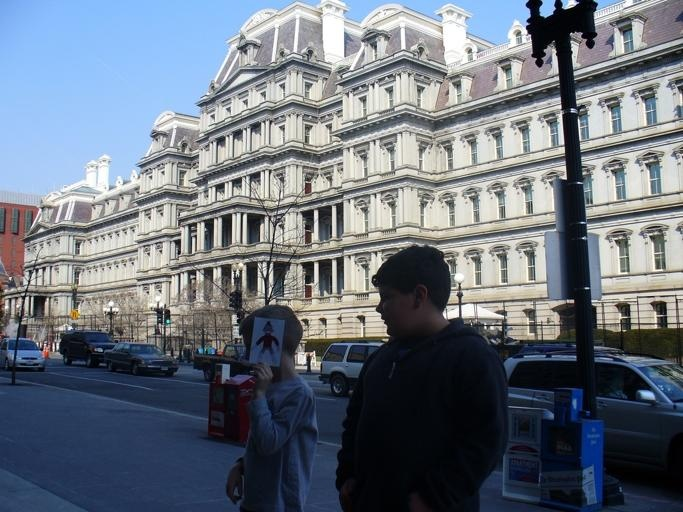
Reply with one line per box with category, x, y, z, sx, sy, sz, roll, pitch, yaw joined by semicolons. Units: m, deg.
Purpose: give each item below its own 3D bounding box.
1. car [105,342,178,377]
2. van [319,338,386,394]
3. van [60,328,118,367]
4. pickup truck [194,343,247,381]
car;-10.885;5.523;35.958;1.752;1.125;4.116;8;-10;-38
van;1.199;4.440;26.285;3.920;2.060;1.875;-6;-10;37
van;-15.363;5.778;41.799;2.124;1.705;4.089;7;-14;-37
pickup truck;-5.410;4.990;32.588;2.084;1.797;4.053;-6;-6;-14
